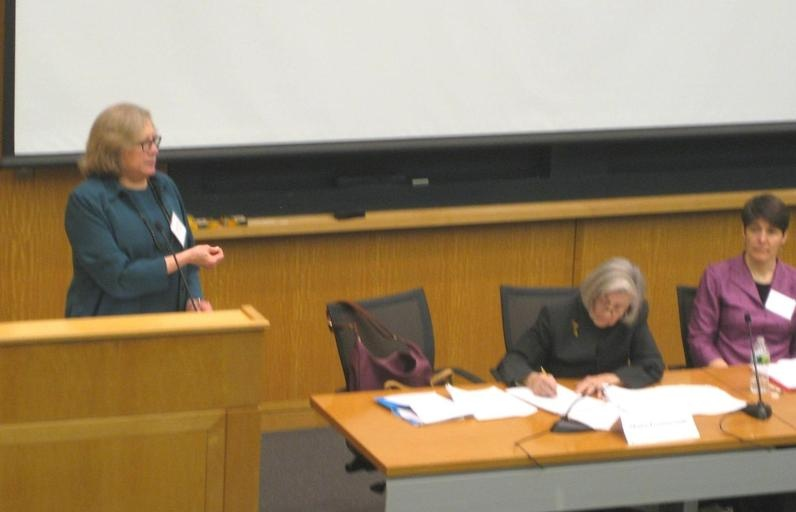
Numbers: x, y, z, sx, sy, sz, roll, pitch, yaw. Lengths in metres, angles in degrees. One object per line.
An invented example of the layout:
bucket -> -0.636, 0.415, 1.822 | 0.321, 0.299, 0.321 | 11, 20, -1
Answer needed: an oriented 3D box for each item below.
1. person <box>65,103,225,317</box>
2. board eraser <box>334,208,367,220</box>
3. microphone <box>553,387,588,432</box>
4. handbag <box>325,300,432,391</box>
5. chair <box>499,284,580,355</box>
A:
person -> -1.214, 0.003, 3.538 | 0.664, 1.340, 0.609 | 2, 15, -22
board eraser -> -0.307, -0.264, 4.661 | 0.199, 0.067, 0.094 | -4, 3, -7
microphone -> 0.702, 0.673, 3.138 | 0.100, 0.039, 0.112 | -11, 29, 7
handbag -> -0.080, 0.436, 3.733 | 0.409, 0.510, 0.243 | -15, -17, -29
chair -> 0.712, 0.347, 4.053 | 0.326, 0.471, 0.362 | 1, -6, -2
